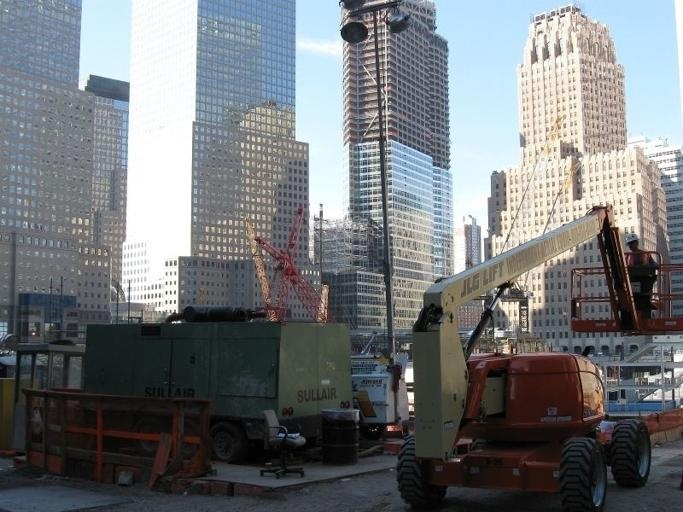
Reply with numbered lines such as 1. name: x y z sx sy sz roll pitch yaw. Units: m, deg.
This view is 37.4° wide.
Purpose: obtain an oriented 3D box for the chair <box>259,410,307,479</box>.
1. chair: -1.620 5.709 30.621 1.486 2.325 1.517 -6 -11 21

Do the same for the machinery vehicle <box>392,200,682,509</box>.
1. machinery vehicle: 5.412 2.581 28.451 4.098 8.871 9.154 -10 -13 43
